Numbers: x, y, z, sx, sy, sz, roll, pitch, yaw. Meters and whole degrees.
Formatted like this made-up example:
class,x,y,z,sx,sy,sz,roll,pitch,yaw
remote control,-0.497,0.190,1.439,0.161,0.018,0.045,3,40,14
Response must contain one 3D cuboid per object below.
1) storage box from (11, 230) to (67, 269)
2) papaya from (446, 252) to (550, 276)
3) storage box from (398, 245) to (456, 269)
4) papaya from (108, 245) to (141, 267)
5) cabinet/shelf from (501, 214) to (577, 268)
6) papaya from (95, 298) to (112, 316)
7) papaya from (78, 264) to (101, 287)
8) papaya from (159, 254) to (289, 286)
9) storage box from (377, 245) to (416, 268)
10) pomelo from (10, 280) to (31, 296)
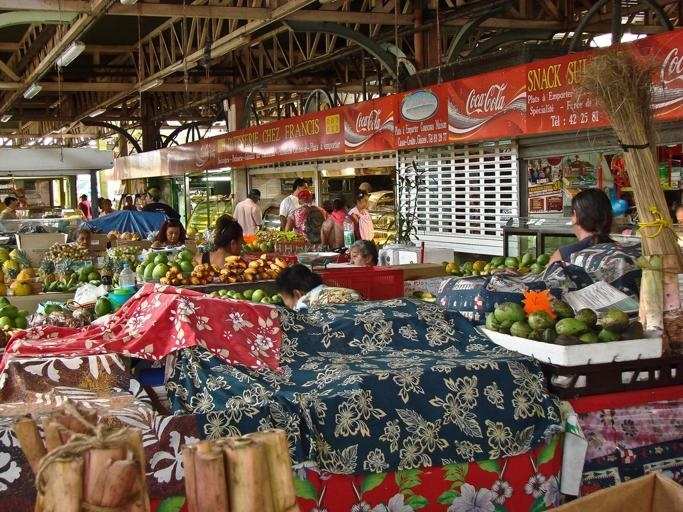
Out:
class,x,y,z,sx,sy,sz,roll,pitch,yaw
storage box,-4.051,-0.064,7.174,0.724,0.689,0.848,-5,11,-34
papaya,1.469,0.082,4.605,0.484,0.201,0.946,-5,9,-30
storage box,1.033,0.004,5.893,0.332,0.216,0.493,6,-4,-42
papaya,-2.468,-0.001,5.788,0.236,0.085,0.280,-1,15,2
cabinet/shelf,2.376,-0.192,5.900,0.580,0.564,0.804,-5,9,-28
papaya,-1.594,0.335,3.400,0.100,0.117,0.157,-5,10,-23
papaya,-2.351,0.164,4.754,0.255,0.090,0.218,1,40,-8
papaya,-1.005,0.108,4.414,1.064,0.196,0.506,-1,9,-7
storage box,0.624,-0.018,5.537,0.271,0.199,0.353,-4,5,-30
pomelo,-2.722,0.271,4.324,0.144,0.096,0.153,11,9,38
